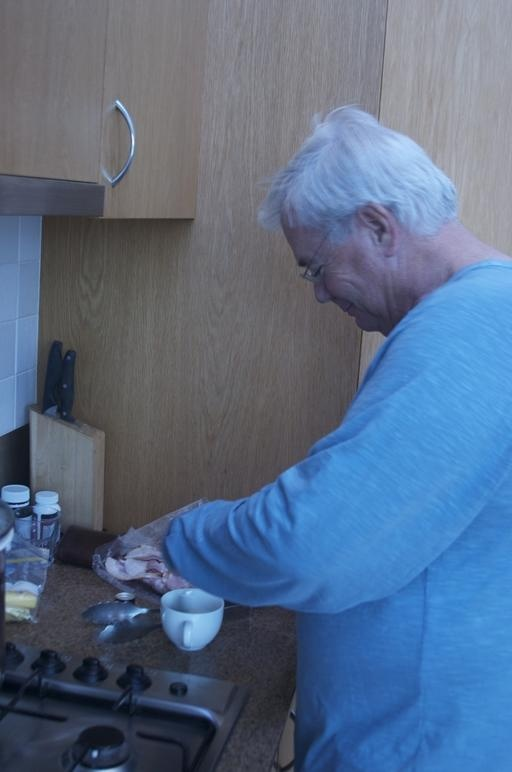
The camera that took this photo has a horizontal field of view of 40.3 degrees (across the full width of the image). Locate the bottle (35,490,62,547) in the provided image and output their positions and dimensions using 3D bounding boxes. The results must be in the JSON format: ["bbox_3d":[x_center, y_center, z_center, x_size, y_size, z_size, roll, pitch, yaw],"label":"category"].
[{"bbox_3d":[-0.453,0.291,1.505,0.056,0.122,0.077,2,3,-17],"label":"bottle"}]

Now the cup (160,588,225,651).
[{"bbox_3d":[-0.104,0.375,1.130,0.095,0.080,0.149,0,-13,3],"label":"cup"}]

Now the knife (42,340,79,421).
[{"bbox_3d":[-0.454,-0.012,1.604,0.069,0.179,0.049,3,3,-9],"label":"knife"}]
